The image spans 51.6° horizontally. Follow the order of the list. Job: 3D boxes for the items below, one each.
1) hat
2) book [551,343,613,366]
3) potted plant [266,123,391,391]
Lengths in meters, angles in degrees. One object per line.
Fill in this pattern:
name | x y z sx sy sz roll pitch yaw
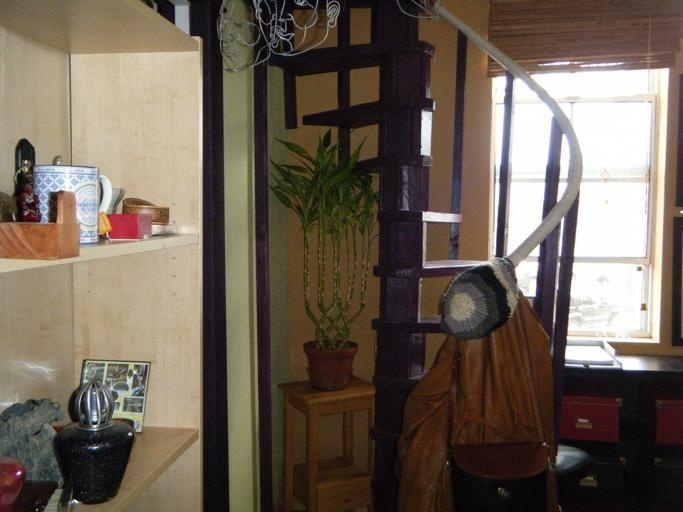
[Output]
hat | 0.467 0.144 2.356 0.214 0.270 0.100 43 6 12
book | 1.301 0.526 3.714 0.200 0.037 0.211 1 6 26
potted plant | -0.089 -0.030 3.405 0.539 1.274 0.910 -1 1 2
